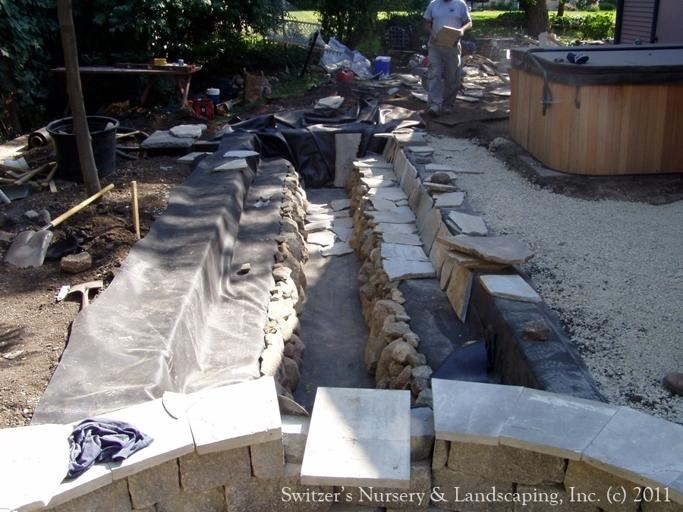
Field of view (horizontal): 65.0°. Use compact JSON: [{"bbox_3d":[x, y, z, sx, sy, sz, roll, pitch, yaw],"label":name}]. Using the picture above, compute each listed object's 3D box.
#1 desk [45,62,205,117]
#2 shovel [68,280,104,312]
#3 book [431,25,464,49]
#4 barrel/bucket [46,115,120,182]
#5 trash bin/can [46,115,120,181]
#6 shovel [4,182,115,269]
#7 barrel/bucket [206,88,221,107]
[{"bbox_3d":[-4.637,-3.855,12.045,2.676,0.600,1.147,-1,20,5],"label":"desk"},{"bbox_3d":[-2.537,0.378,5.226,0.332,0.138,0.481,-4,19,-7],"label":"shovel"},{"bbox_3d":[1.964,-4.129,10.054,0.583,0.352,0.503,6,20,21],"label":"book"},{"bbox_3d":[-3.832,-1.606,8.035,0.882,0.892,0.973,7,21,25],"label":"barrel/bucket"},{"bbox_3d":[-3.870,-1.669,8.088,1.055,1.149,0.940,-4,27,-18],"label":"trash bin/can"},{"bbox_3d":[-3.209,-0.355,5.970,0.970,0.673,0.686,4,25,-11],"label":"shovel"},{"bbox_3d":[-3.180,-3.917,13.153,0.313,0.381,0.892,-6,19,-13],"label":"barrel/bucket"}]
